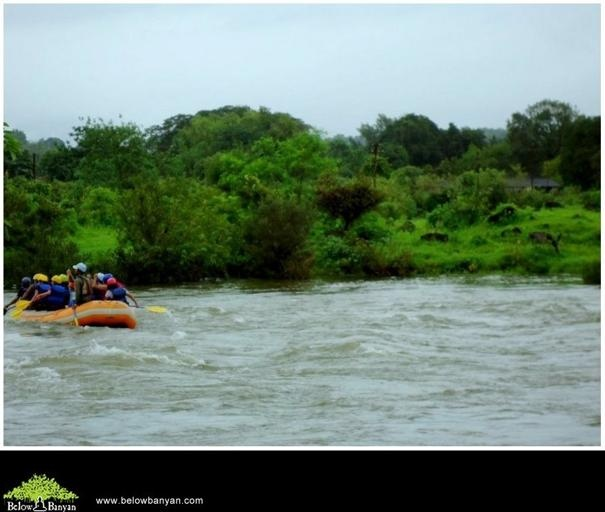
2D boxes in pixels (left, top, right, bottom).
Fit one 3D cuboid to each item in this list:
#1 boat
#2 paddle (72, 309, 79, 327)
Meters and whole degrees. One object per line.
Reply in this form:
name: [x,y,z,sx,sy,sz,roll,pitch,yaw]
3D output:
boat: [-7.505,2.086,35.709,2.852,0.673,1.556,-1,0,-3]
paddle: [-7.760,2.155,35.419,0.165,0.556,0.434,-4,12,-18]
